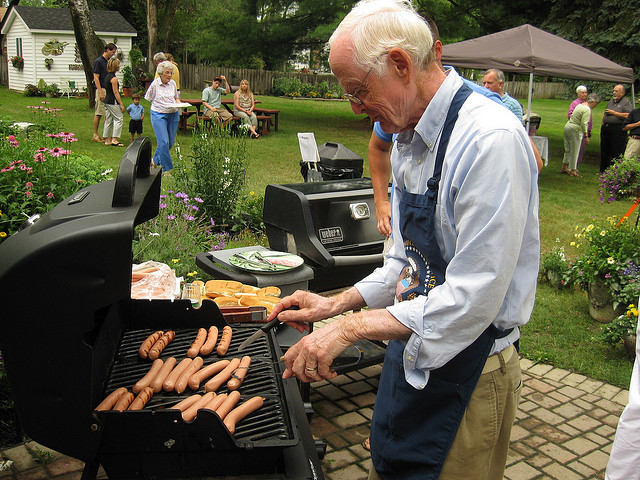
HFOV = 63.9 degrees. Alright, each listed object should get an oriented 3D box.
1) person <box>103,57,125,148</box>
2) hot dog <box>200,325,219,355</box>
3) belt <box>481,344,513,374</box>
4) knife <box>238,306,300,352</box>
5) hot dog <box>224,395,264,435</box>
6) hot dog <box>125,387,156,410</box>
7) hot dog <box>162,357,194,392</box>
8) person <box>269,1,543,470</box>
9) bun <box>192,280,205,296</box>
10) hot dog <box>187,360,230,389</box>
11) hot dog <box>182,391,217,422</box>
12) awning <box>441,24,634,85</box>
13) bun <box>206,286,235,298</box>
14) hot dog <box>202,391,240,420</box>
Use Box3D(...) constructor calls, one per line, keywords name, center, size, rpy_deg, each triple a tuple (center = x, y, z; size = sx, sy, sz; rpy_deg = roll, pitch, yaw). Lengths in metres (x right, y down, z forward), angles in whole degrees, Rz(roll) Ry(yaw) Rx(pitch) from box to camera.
Box3D(name="person", center=(-4.650, -3.048, 11.407), size=(0.455, 1.874, 1.425), rpy_deg=(-4, 15, -23))
Box3D(name="hot dog", center=(-0.502, 0.462, 2.336), size=(0.065, 0.057, 0.223), rpy_deg=(8, 10, -5))
Box3D(name="belt", center=(0.652, 0.436, 1.862), size=(0.084, 0.022, 0.092), rpy_deg=(-28, -11, -16))
Box3D(name="knife", center=(-0.188, 0.379, 2.204), size=(0.044, 0.269, 0.045), rpy_deg=(37, 19, 6))
Box3D(name="hot dog", center=(-0.294, 0.660, 1.945), size=(0.049, 0.044, 0.175), rpy_deg=(10, 18, 24))
Box3D(name="hot dog", center=(-0.696, 0.621, 1.975), size=(0.073, 0.045, 0.171), rpy_deg=(1, 14, -4))
Box3D(name="hot dog", center=(-0.591, 0.558, 2.131), size=(0.041, 0.045, 0.166), rpy_deg=(2, 24, 18))
Box3D(name="person", center=(0.348, 0.067, 1.849), size=(0.806, 1.761, 0.625), rpy_deg=(8, 15, 25))
Box3D(name="bun", center=(-0.790, 0.308, 3.333), size=(0.090, 0.100, 0.094), rpy_deg=(3, 9, 4))
Box3D(name="hot dog", center=(-0.474, 0.557, 2.149), size=(0.065, 0.049, 0.212), rpy_deg=(10, 19, 32))
Box3D(name="hot dog", center=(-0.449, 0.617, 1.909), size=(0.037, 0.049, 0.177), rpy_deg=(30, 8, 11))
Box3D(name="awning", center=(4.803, -4.199, 11.352), size=(3.830, 1.121, 1.568), rpy_deg=(0, 14, -11))
Box3D(name="bun", center=(-0.605, 0.317, 3.094), size=(0.166, 0.035, 0.108), rpy_deg=(-1, 14, -15))
Box3D(name="hot dog", center=(-0.371, 0.625, 1.919), size=(0.080, 0.043, 0.170), rpy_deg=(4, 2, -2))
